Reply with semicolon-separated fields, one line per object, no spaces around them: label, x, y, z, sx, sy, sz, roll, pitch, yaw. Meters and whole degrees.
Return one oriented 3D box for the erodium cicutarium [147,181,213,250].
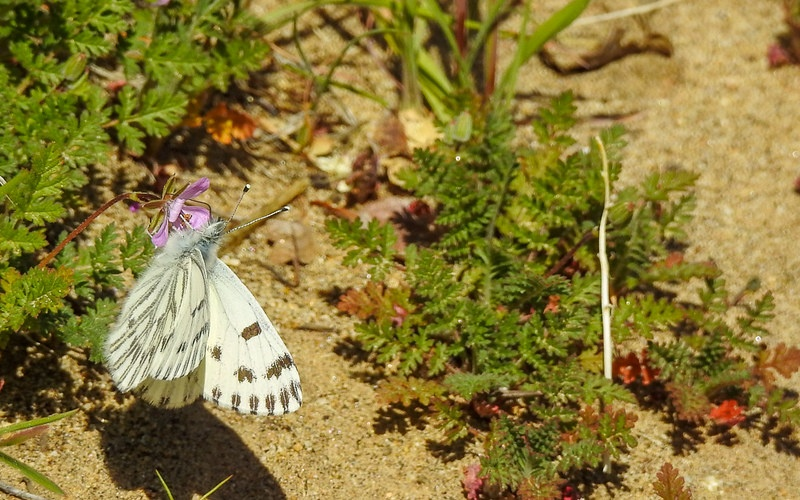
erodium cicutarium;-1.372;-0.229;5.596;0.396;0.412;0.182;-18;32;-35
